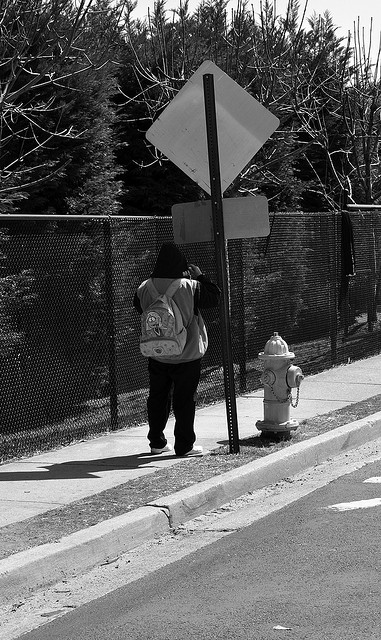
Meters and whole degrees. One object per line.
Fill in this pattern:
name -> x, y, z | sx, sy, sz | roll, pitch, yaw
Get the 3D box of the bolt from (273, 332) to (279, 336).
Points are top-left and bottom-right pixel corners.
bolt -> 0.784, 0.120, 6.902 | 0.041, 0.052, 0.044 | 0, 1, 17

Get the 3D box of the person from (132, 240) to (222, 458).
person -> -0.120, 0.259, 6.306 | 0.710, 1.771, 0.729 | 0, 5, 2

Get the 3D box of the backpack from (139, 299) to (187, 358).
backpack -> -0.233, 0.047, 6.046 | 0.336, 0.470, 0.245 | -1, 29, 6

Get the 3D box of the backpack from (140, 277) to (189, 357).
backpack -> -0.207, -0.002, 6.099 | 0.349, 0.595, 0.343 | -3, 5, 22

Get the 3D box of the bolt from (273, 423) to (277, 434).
bolt -> 0.749, 0.949, 6.688 | 0.032, 0.106, 0.065 | 0, 5, 2

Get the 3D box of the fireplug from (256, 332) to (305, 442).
fireplug -> 0.817, 0.568, 6.906 | 0.405, 0.929, 0.786 | 0, 5, 8
